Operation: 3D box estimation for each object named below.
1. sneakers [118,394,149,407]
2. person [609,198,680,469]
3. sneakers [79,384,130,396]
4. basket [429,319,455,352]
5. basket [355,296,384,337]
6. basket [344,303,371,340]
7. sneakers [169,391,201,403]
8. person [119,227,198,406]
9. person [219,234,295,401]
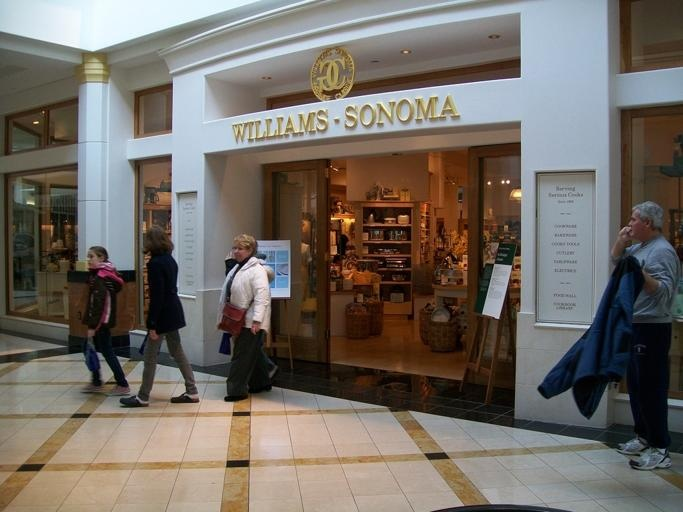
[{"bbox_3d":[-2.428,1.683,5.936,0.295,0.107,0.142,4,-3,0],"label":"sneakers"},{"bbox_3d":[2.603,0.676,4.318,0.425,2.242,0.405,1,2,33],"label":"person"},{"bbox_3d":[-2.992,1.699,6.433,0.348,0.124,0.113,5,-5,6],"label":"sneakers"},{"bbox_3d":[1.693,1.334,8.525,0.516,0.486,0.506,0,0,21],"label":"basket"},{"bbox_3d":[0.530,1.227,10.346,0.593,0.674,0.696,4,-2,7],"label":"basket"},{"bbox_3d":[0.377,1.241,10.013,0.523,0.644,0.511,-4,-7,16],"label":"basket"},{"bbox_3d":[-1.856,1.652,6.020,0.300,0.109,0.132,3,-3,0],"label":"sneakers"},{"bbox_3d":[-2.080,0.707,5.865,0.811,2.056,0.442,-1,2,-17],"label":"person"},{"bbox_3d":[-1.154,0.742,6.053,0.628,1.971,0.703,-1,2,-10],"label":"person"}]
